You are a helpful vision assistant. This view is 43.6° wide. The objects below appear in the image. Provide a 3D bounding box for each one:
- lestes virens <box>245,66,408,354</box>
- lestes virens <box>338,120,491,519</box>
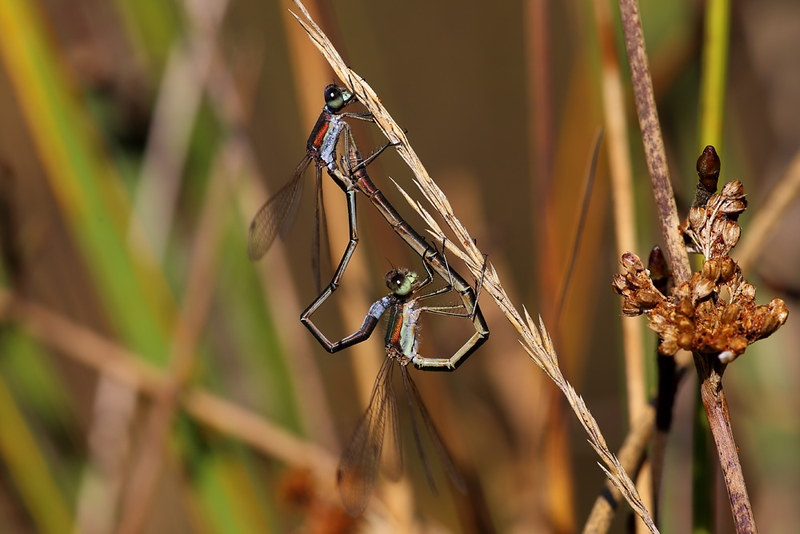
[{"bbox_3d":[-0.101,-0.088,1.180,0.157,0.285,0.172,-21,-37,21],"label":"lestes virens"},{"bbox_3d":[0.007,0.076,1.128,0.133,0.338,0.194,-15,-19,33],"label":"lestes virens"}]
